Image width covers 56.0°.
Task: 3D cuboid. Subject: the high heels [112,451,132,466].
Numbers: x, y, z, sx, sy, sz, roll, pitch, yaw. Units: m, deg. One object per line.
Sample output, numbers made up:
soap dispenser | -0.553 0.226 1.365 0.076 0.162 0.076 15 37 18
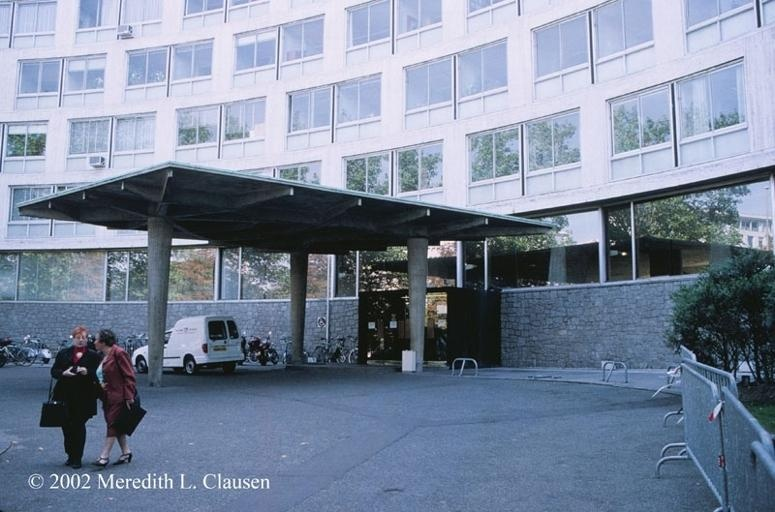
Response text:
high heels | -5.313 4.069 14.592 0.366 0.200 0.180 2 -8 2

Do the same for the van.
van | -8.188 3.721 30.483 4.127 1.964 2.426 -1 -5 32

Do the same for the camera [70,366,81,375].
camera | -6.230 2.311 14.607 0.218 0.150 0.055 0 2 6

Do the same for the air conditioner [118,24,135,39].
air conditioner | -14.909 -12.662 41.182 0.958 0.733 0.419 0 2 12

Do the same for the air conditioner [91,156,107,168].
air conditioner | -16.229 -5.222 40.619 0.880 0.725 0.502 -1 2 -19

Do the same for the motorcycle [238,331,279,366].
motorcycle | -6.243 4.664 35.850 2.455 1.502 1.304 -8 -12 34
